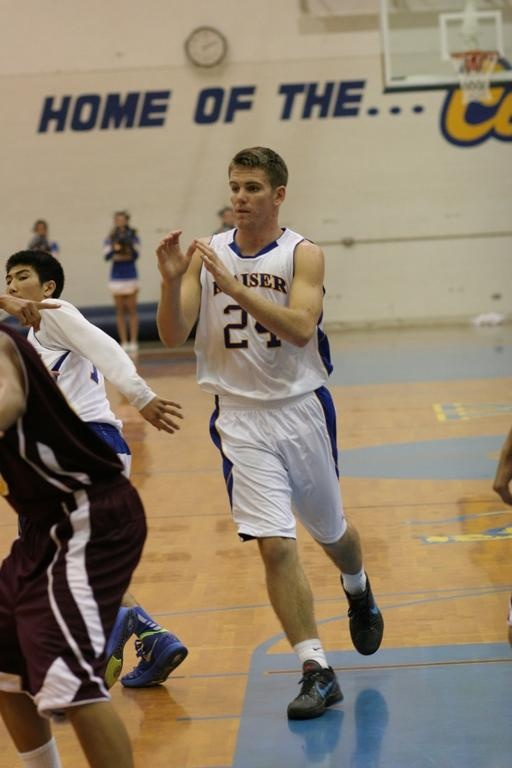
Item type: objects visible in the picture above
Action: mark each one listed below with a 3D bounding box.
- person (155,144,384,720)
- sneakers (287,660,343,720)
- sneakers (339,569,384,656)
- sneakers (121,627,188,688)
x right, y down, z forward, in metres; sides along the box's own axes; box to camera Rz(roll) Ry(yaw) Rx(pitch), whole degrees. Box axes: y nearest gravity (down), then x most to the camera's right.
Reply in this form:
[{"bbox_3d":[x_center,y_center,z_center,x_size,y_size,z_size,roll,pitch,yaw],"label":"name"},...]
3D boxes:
[{"bbox_3d":[0.010,0.064,2.140,0.534,1.586,0.639,-2,5,28],"label":"person"},{"bbox_3d":[0.152,0.788,1.899,0.079,0.118,0.214,-16,-14,35],"label":"sneakers"},{"bbox_3d":[0.340,0.699,2.257,0.106,0.096,0.279,-21,31,14],"label":"sneakers"},{"bbox_3d":[-0.322,0.807,2.167,0.222,0.083,0.152,-41,53,10],"label":"sneakers"}]
